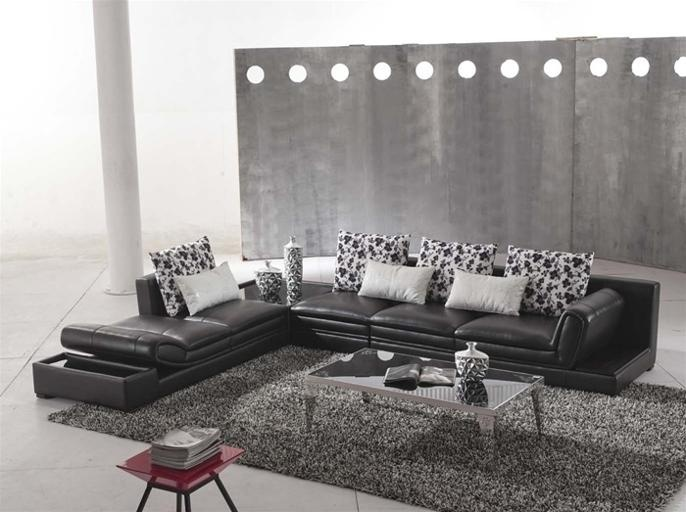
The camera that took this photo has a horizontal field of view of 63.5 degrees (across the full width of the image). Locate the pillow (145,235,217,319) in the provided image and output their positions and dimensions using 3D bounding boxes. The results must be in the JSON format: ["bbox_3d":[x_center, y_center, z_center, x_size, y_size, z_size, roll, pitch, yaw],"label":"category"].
[{"bbox_3d":[-1.508,0.185,5.107,0.227,0.692,0.763,-11,4,30],"label":"pillow"}]

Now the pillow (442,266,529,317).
[{"bbox_3d":[1.201,0.262,5.256,0.661,0.317,1.021,6,22,4],"label":"pillow"}]

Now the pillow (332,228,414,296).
[{"bbox_3d":[0.312,0.080,5.639,0.824,0.653,0.315,2,11,24],"label":"pillow"}]

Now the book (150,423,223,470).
[{"bbox_3d":[-0.707,0.858,2.560,0.168,0.084,0.223,2,5,37],"label":"book"}]
